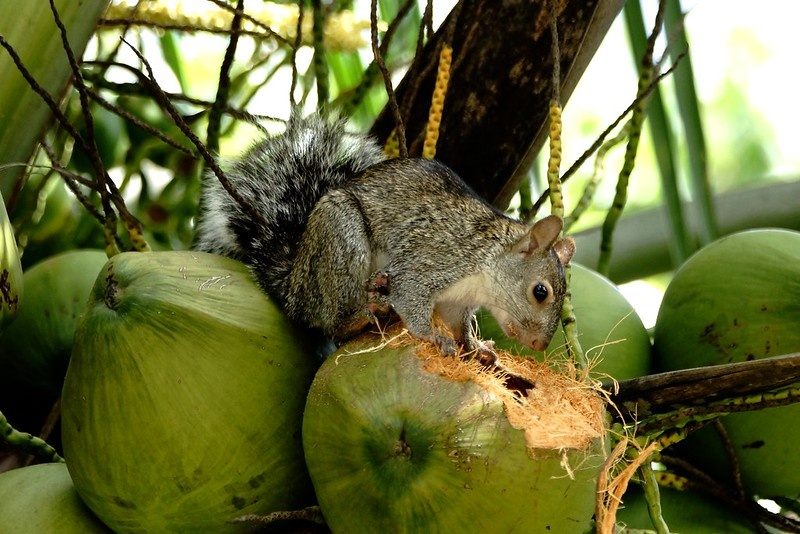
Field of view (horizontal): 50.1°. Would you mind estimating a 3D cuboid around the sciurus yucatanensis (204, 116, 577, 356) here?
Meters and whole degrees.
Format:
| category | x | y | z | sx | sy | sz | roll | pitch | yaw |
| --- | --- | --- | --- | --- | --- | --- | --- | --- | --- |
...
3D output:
| category | x | y | z | sx | sy | sz | roll | pitch | yaw |
| --- | --- | --- | --- | --- | --- | --- | --- | --- | --- |
| sciurus yucatanensis | -0.058 | -0.109 | 3.016 | 1.104 | 0.526 | 0.824 | 2 | -1 | 41 |
